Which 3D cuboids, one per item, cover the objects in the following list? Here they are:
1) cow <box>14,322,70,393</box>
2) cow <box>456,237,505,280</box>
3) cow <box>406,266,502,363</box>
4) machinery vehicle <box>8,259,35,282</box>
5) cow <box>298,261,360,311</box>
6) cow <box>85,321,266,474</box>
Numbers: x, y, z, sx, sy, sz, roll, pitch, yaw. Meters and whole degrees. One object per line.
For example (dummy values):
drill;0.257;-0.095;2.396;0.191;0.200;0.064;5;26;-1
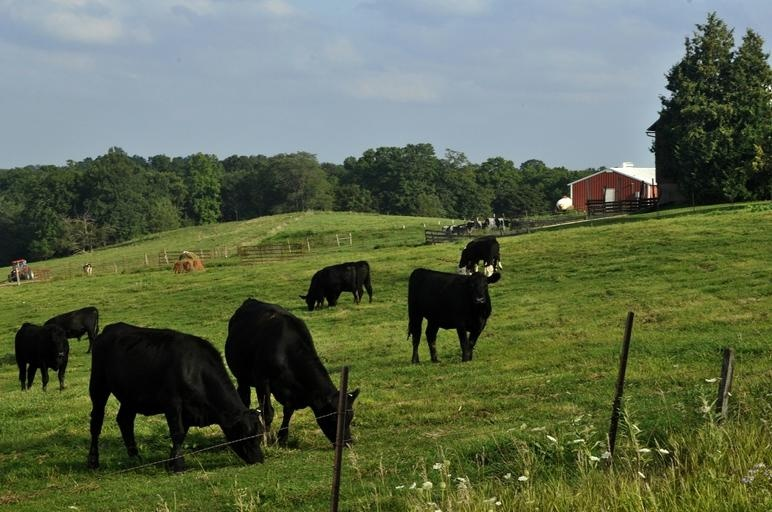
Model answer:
cow;-15.259;4.247;44.486;1.406;2.756;4.656;1;-4;-34
cow;5.499;-0.041;57.337;1.221;2.460;4.506;4;-3;-26
cow;2.748;2.529;43.365;3.566;3.664;2.037;0;12;24
machinery vehicle;-31.595;1.278;86.703;1.670;1.518;2.943;-3;-6;-14
cow;-2.773;1.455;53.056;4.456;2.637;1.449;-15;1;-22
cow;-7.922;5.132;36.914;6.188;5.078;1.680;-3;11;9
